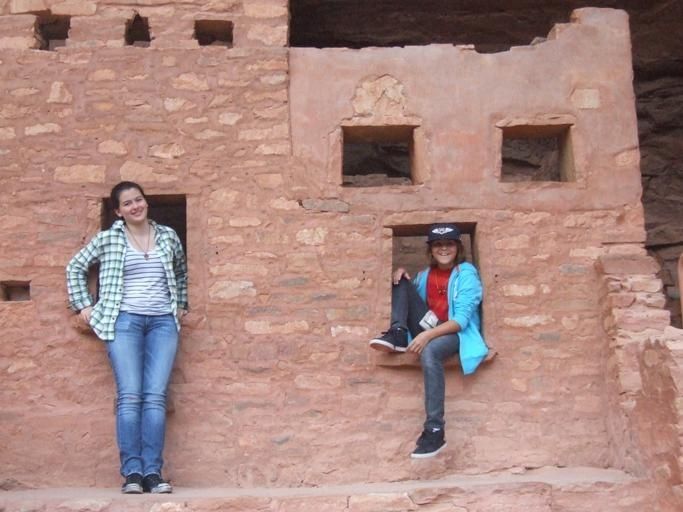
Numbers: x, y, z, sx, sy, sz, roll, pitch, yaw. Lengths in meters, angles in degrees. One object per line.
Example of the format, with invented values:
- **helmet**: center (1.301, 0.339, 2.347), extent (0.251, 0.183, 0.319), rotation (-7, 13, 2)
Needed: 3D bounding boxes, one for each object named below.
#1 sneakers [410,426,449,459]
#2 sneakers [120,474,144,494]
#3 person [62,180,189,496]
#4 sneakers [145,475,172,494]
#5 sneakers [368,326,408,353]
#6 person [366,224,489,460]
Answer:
- **sneakers**: center (0.663, 1.411, 7.232), extent (0.269, 0.211, 0.139), rotation (1, 0, -3)
- **sneakers**: center (-1.537, 1.670, 6.991), extent (0.146, 0.128, 0.098), rotation (1, 0, -19)
- **person**: center (-1.623, 0.586, 7.285), extent (0.854, 2.047, 0.706), rotation (1, 0, -10)
- **sneakers**: center (-1.369, 1.698, 7.083), extent (0.248, 0.083, 0.105), rotation (-1, -9, 33)
- **sneakers**: center (0.399, 0.655, 7.457), extent (0.384, 0.151, 0.130), rotation (17, -24, -36)
- **person**: center (0.729, 0.660, 7.569), extent (0.699, 1.769, 0.906), rotation (1, 0, 34)
